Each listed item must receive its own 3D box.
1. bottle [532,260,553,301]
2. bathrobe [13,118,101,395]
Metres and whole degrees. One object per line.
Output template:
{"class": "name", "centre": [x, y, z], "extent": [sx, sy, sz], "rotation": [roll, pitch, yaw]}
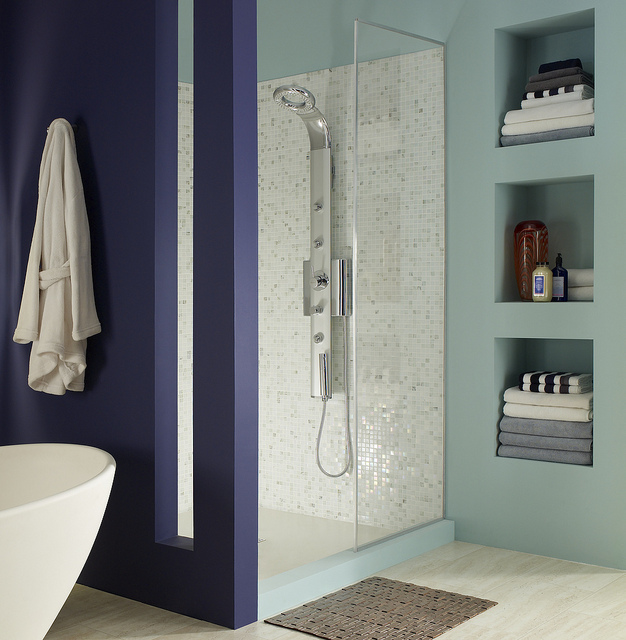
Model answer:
{"class": "bottle", "centre": [1.076, -0.183, 3.133], "extent": [0.095, 0.185, 0.063], "rotation": [4, 4, 21]}
{"class": "bathrobe", "centre": [-0.960, -0.215, 2.707], "extent": [0.402, 1.375, 0.239], "rotation": [-1, -1, 40]}
